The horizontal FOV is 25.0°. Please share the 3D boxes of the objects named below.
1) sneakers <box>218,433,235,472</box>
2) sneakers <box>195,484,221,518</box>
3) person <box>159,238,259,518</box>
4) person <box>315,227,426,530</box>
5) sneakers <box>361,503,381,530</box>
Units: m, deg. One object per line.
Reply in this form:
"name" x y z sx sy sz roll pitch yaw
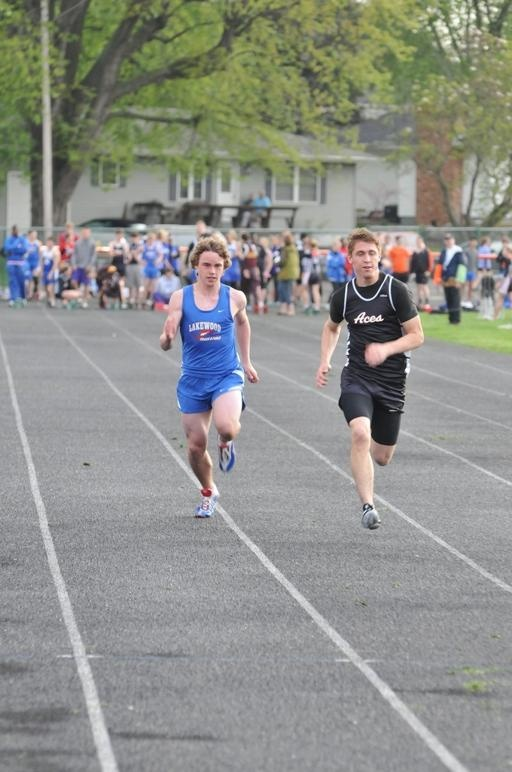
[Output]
"sneakers" -0.203 0.402 6.928 0.103 0.248 0.114 1 22 13
"sneakers" -0.309 0.695 7.274 0.100 0.117 0.267 2 40 12
"person" -0.275 -0.015 6.854 0.531 1.741 0.768 4 7 3
"person" 0.646 -0.072 6.653 0.570 1.655 1.065 4 7 2
"sneakers" 0.631 0.697 6.310 0.079 0.090 0.203 -8 1 -2
